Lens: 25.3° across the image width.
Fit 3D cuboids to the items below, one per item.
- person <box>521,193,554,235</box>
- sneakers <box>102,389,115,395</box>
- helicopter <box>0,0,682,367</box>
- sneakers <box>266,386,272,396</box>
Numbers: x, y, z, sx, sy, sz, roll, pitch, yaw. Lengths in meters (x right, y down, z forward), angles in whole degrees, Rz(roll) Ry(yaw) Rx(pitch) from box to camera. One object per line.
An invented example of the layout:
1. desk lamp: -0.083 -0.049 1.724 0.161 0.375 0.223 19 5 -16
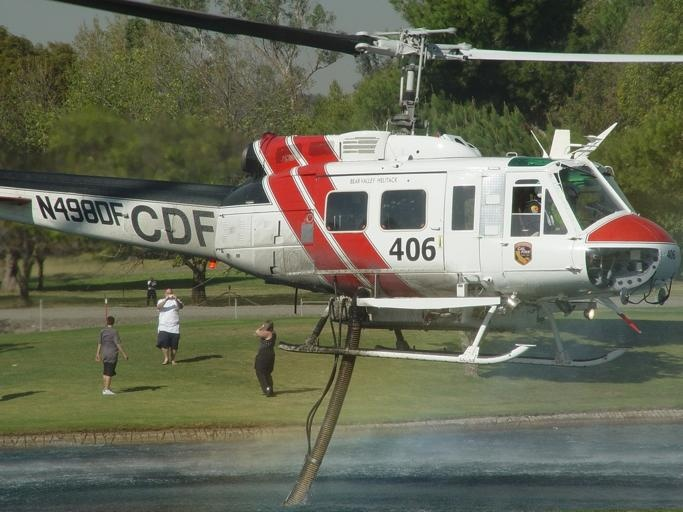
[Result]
1. person: 7.666 -1.652 58.974 1.403 1.516 0.576 8 -6 6
2. sneakers: -9.887 5.722 63.993 0.616 0.210 0.195 1 0 -3
3. helicopter: 2.372 -1.770 62.635 20.520 6.718 16.222 -1 -3 21
4. sneakers: -3.044 5.669 63.902 0.312 0.367 0.153 27 24 23
